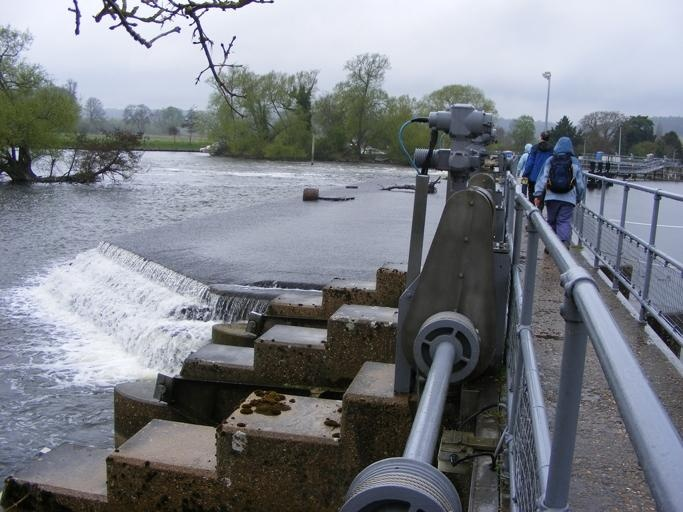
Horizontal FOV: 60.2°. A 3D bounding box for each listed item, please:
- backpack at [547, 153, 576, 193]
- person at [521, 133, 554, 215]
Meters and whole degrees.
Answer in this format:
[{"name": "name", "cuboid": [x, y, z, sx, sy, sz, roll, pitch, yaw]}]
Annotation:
[{"name": "backpack", "cuboid": [3.352, -1.276, 9.023, 0.383, 0.569, 0.297, 1, 17, 21]}, {"name": "person", "cuboid": [3.732, -1.548, 11.190, 0.564, 1.629, 0.447, 2, 26, 2]}]
